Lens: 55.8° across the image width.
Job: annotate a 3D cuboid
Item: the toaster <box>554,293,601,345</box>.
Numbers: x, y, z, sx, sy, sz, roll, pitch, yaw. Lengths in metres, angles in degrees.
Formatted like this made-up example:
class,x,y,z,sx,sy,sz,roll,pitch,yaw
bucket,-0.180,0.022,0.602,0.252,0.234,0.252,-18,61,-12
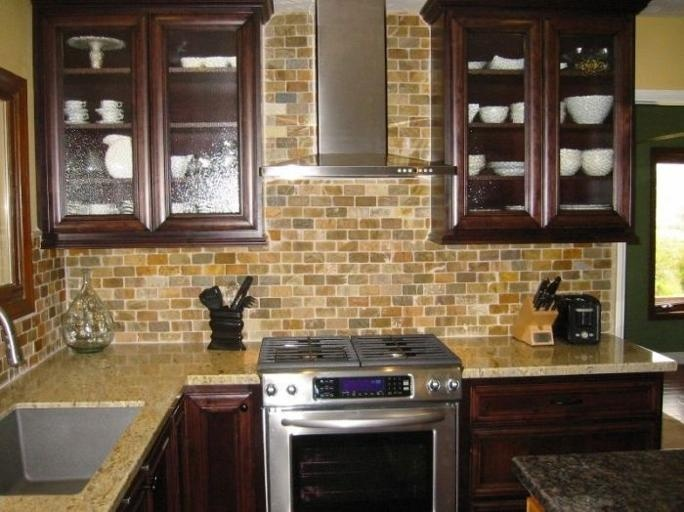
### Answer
class,x,y,z,sx,sy,sz,roll,pitch,yaw
toaster,1.317,0.357,3.659,0.206,0.265,0.317,1,-2,4

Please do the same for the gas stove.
class,x,y,z,sx,sy,sz,roll,pitch,yaw
gas stove,0.080,0.567,3.307,0.989,0.190,0.510,-1,12,-4

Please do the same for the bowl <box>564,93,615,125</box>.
class,x,y,z,sx,sy,sz,roll,pitch,yaw
bowl,1.279,-0.765,3.370,0.196,0.101,0.184,-1,2,0

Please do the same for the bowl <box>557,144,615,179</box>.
class,x,y,z,sx,sy,sz,roll,pitch,yaw
bowl,1.285,-0.491,3.380,0.243,0.098,0.154,0,4,4

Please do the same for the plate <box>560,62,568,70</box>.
class,x,y,z,sx,sy,sz,roll,pitch,yaw
plate,1.149,-0.985,3.345,0.045,0.038,0.014,-7,15,-26

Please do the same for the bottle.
class,x,y,z,sx,sy,sz,roll,pitch,yaw
bottle,-1.324,0.309,3.369,0.129,0.457,0.219,9,17,36
